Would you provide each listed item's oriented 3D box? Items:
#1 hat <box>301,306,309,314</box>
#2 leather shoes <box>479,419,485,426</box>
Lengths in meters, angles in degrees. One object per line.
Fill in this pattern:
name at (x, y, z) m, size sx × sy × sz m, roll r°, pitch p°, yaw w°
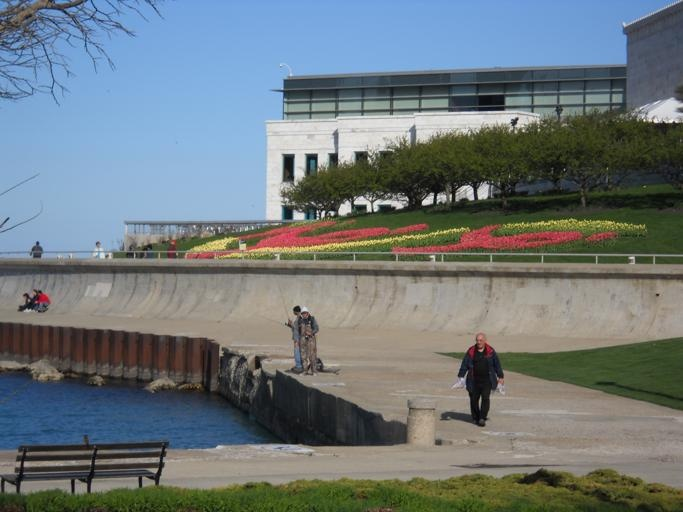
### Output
hat at (-1.753, 2.531, 88.441) m, size 0.305 × 0.265 × 0.447 m, roll 0°, pitch -28°, yaw -3°
leather shoes at (6.380, 7.466, 82.676) m, size 0.260 × 0.255 × 0.276 m, roll -1°, pitch 0°, yaw 15°
